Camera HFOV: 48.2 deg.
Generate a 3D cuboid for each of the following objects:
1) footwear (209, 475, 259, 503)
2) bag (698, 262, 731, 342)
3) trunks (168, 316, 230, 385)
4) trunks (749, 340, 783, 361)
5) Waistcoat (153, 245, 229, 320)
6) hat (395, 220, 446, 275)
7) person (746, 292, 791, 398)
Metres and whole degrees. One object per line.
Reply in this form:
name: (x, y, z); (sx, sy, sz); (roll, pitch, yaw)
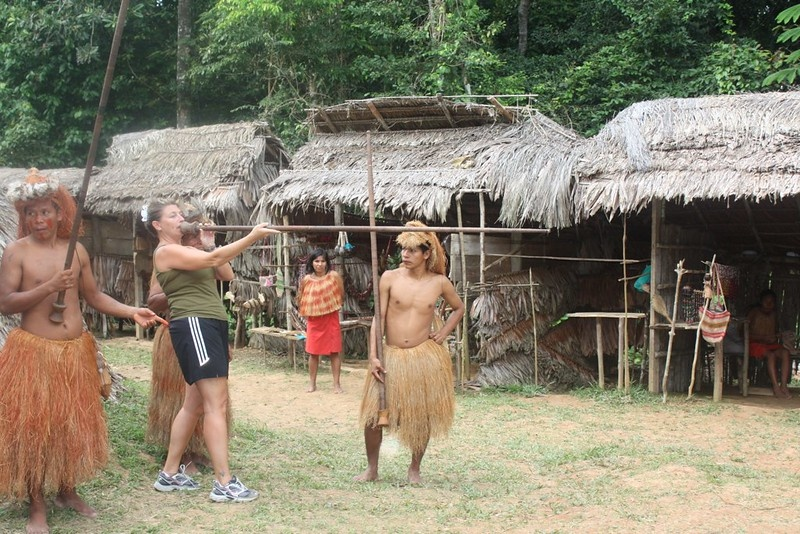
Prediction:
footwear: (-1.594, 2.158, 8.670); (0.501, 0.236, 0.194); (2, -1, -5)
bag: (4.080, 0.473, 11.647); (0.374, 1.129, 0.460); (1, 13, 4)
trunks: (-1.953, 0.747, 8.916); (0.605, 0.760, 0.890); (-9, 2, -25)
trunks: (5.005, 1.155, 12.260); (0.404, 0.238, 0.220); (3, 13, 14)
Waistcoat: (-2.015, 0.195, 8.810); (0.719, 0.825, 0.510); (4, -25, -43)
hat: (0.228, -0.203, 9.283); (0.607, 0.555, 0.448); (-3, 2, -31)
person: (5.115, 1.023, 12.221); (0.510, 1.327, 0.711); (-9, 15, -34)
